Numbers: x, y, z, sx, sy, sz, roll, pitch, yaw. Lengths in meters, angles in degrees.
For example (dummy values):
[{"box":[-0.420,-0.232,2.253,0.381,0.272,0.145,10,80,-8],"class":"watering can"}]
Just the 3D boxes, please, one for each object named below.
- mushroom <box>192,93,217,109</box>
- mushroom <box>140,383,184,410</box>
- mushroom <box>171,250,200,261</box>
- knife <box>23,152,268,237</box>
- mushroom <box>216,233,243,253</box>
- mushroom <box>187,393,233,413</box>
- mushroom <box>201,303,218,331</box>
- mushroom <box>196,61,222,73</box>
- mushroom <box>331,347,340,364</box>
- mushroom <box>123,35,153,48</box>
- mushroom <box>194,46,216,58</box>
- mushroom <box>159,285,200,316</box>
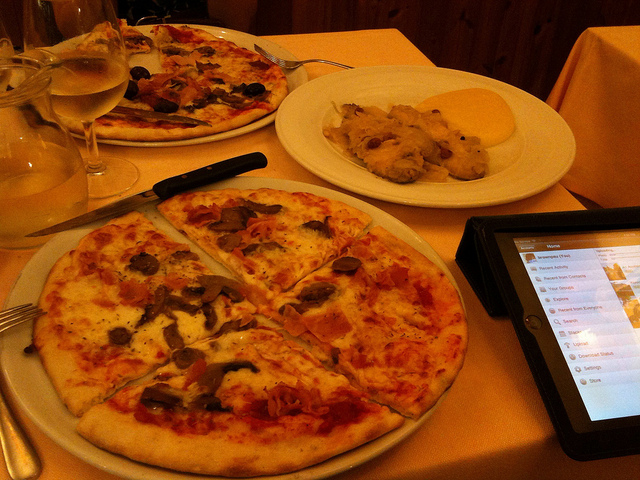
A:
[{"box":[-0.428,-0.516,1.899,0.091,0.016,0.051,-28,66,-38],"class":"mushroom"},{"box":[-0.311,0.300,0.981,0.056,0.014,0.049,11,32,4],"class":"mushroom"},{"box":[-0.343,0.041,1.294,0.041,0.009,0.037,18,17,-17],"class":"mushroom"},{"box":[-0.457,-0.109,1.331,0.643,0.056,0.074,-17,56,-19],"class":"knife"},{"box":[-0.235,0.010,1.321,0.059,0.013,0.049,-12,40,0],"class":"mushroom"},{"box":[-0.216,0.317,0.983,0.063,0.012,0.034,2,31,-2],"class":"mushroom"},{"box":[-0.257,0.178,1.172,0.042,0.014,0.053,-9,55,-13],"class":"mushroom"},{"box":[-0.478,-0.739,2.173,0.060,0.024,0.088,39,37,22],"class":"mushroom"},{"box":[0.034,0.251,1.116,0.025,0.013,0.028,-7,76,27],"class":"mushroom"},{"box":[-0.808,-0.886,2.261,0.122,0.029,0.102,10,35,-6],"class":"mushroom"},{"box":[-0.509,-0.838,2.262,0.079,0.020,0.051,13,45,-5],"class":"mushroom"},{"box":[-0.330,0.143,1.189,0.087,0.022,0.039,34,42,11],"class":"mushroom"}]
